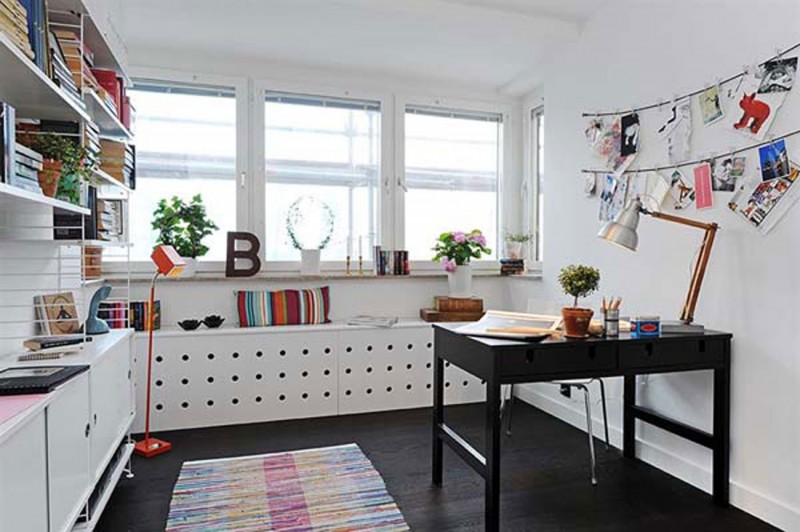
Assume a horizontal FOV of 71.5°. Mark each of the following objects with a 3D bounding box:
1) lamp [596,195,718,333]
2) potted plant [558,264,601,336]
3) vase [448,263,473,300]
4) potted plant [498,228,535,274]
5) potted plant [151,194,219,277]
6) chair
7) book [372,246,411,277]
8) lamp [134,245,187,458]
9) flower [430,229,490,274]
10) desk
[{"bbox_3d":[1.647,-0.019,3.517,0.713,0.810,0.466,-10,15,-40],"label":"lamp"},{"bbox_3d":[1.095,0.204,3.379,0.257,0.446,0.239,4,-2,14],"label":"potted plant"},{"bbox_3d":[0.557,0.138,5.198,0.270,0.299,0.240,1,-1,-17],"label":"vase"},{"bbox_3d":[1.174,-0.148,5.589,0.366,0.527,0.376,5,-2,-17],"label":"potted plant"},{"bbox_3d":[-1.846,-0.370,4.777,0.414,0.406,0.382,11,-10,-12],"label":"potted plant"},{"bbox_3d":[1.131,0.918,4.060,0.541,0.833,0.545,-20,-24,30],"label":"chair"},{"bbox_3d":[-0.076,-0.063,5.236,0.352,0.269,0.185,0,12,-1],"label":"book"},{"bbox_3d":[-1.874,0.566,4.203,0.434,1.504,0.804,-7,14,-32],"label":"lamp"},{"bbox_3d":[0.598,-0.174,5.162,0.497,0.288,0.528,0,6,20],"label":"flower"},{"bbox_3d":[1.071,0.975,3.634,1.904,1.357,1.116,0,-3,-16],"label":"desk"}]
